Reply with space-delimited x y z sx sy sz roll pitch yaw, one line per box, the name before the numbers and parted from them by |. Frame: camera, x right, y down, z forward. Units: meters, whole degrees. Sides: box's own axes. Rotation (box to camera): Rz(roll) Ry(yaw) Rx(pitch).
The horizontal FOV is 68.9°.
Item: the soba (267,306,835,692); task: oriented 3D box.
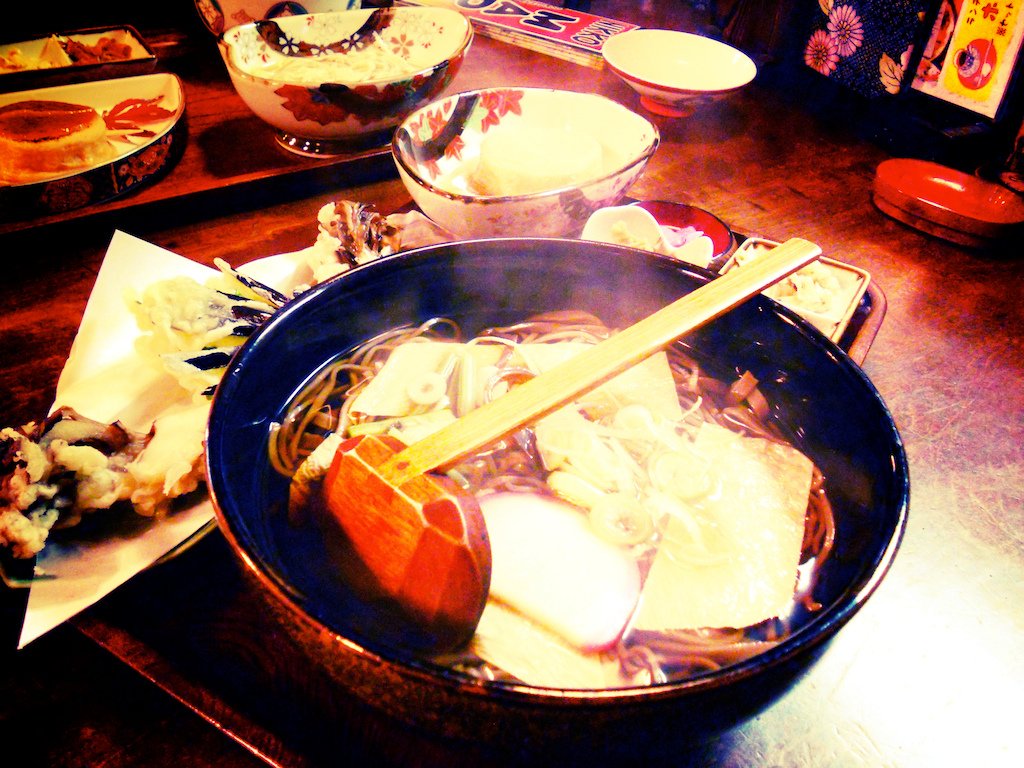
soba | 0.213 0.144 1.249 0.638 0.216 0.647 0 40 -4
